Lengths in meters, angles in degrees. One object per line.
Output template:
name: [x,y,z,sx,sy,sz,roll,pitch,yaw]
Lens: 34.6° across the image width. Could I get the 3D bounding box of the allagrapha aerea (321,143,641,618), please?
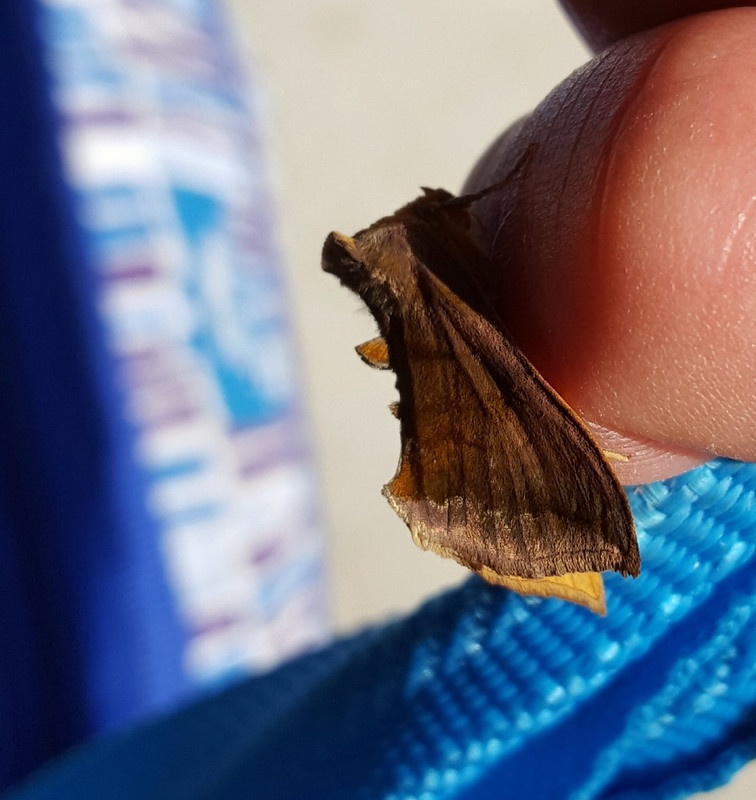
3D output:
allagrapha aerea: [0.022,-0.013,0.466,0.033,0.158,0.144,-4,-11,-17]
